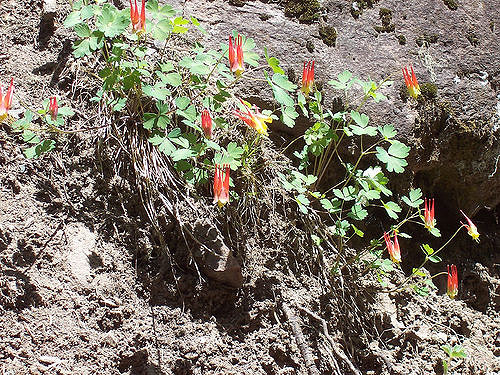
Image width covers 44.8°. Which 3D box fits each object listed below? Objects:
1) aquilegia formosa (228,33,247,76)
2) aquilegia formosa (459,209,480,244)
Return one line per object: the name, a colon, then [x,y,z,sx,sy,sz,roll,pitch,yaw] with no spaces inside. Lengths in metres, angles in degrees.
aquilegia formosa: [-0.099,-0.979,4.449,0.132,0.288,0.239,6,14,-3]
aquilegia formosa: [1.925,0.345,5.345,0.095,0.180,0.345,-19,-39,23]
